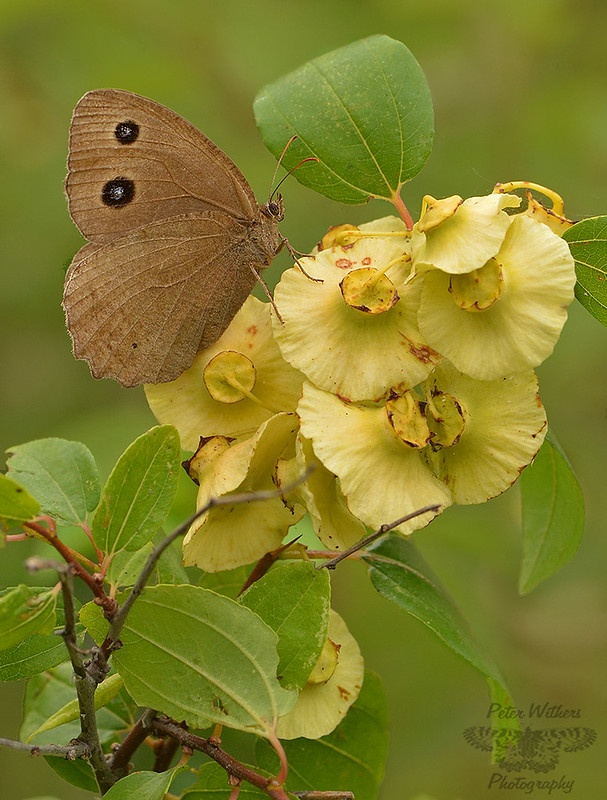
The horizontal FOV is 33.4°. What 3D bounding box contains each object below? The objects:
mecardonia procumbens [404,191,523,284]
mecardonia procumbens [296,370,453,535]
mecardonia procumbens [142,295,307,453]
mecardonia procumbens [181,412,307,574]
[{"bbox_3d":[0.224,-0.234,1.429,0.143,0.129,0.098,6,8,8],"label":"mecardonia procumbens"},{"bbox_3d":[0.101,0.083,1.440,0.236,0.193,0.105,5,8,-1],"label":"mecardonia procumbens"},{"bbox_3d":[-0.120,-0.018,1.663,0.286,0.237,0.070,-5,-21,0],"label":"mecardonia procumbens"},{"bbox_3d":[-0.110,0.140,1.520,0.153,0.263,0.167,13,11,41],"label":"mecardonia procumbens"}]
